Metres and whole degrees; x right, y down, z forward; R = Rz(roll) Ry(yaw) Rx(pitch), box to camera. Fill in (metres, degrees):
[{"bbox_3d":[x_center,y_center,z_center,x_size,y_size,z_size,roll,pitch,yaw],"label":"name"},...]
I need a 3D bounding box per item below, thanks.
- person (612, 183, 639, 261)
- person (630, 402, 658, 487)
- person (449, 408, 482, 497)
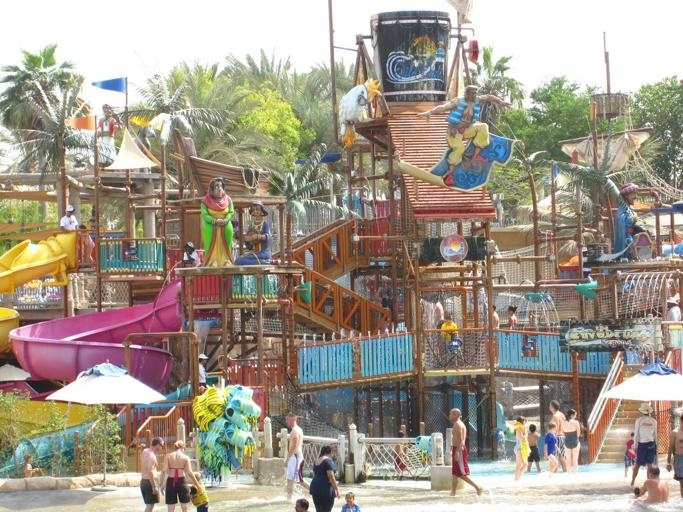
[{"bbox_3d":[9.209,-1.141,46.500,0.784,2.420,0.648,-2,-3,13],"label":"person"},{"bbox_3d":[8.103,4.911,37.811,0.475,2.328,0.620,-7,12,-35],"label":"person"},{"bbox_3d":[3.133,5.125,37.521,0.584,2.359,0.935,-1,0,-32],"label":"person"}]
